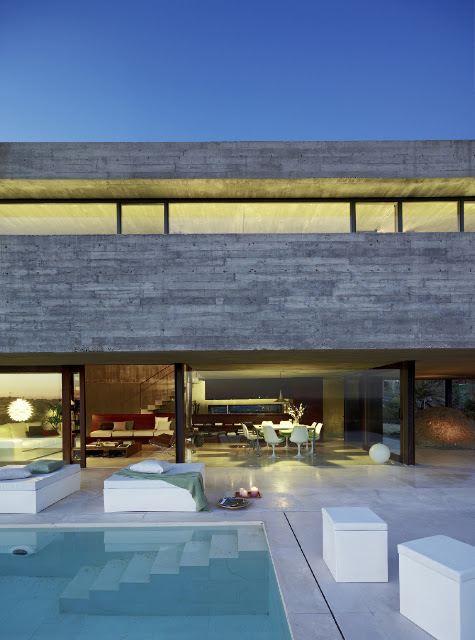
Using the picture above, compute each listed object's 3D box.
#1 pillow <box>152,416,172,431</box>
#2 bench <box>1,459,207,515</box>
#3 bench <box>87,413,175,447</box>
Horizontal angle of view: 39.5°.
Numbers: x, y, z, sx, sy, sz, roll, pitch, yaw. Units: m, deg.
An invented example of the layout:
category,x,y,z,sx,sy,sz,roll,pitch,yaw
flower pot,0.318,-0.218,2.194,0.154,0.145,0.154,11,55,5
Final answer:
category,x,y,z,sx,sy,sz,roll,pitch,yaw
pillow,-1.825,2.569,16.140,0.336,0.099,0.340,-5,39,2
bench,-1.800,2.315,9.329,2.721,0.487,1.183,-3,3,-1
bench,-2.585,2.639,15.997,2.019,0.512,1.852,-3,3,-9
